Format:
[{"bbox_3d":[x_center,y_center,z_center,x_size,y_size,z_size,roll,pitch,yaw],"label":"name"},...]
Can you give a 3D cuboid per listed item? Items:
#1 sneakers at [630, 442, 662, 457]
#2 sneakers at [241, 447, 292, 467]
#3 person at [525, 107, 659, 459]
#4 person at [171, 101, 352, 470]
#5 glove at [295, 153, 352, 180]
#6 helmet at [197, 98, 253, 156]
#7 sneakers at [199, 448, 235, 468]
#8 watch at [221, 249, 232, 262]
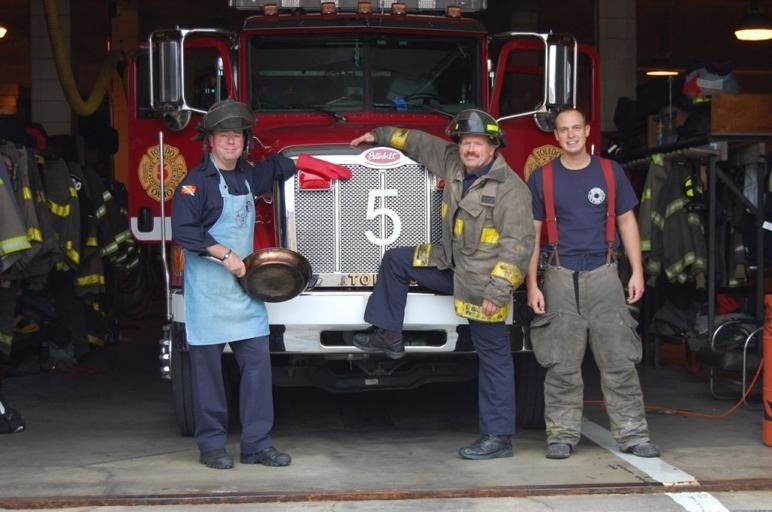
[{"bbox_3d":[2.195,1.641,8.393,0.131,0.086,0.224,2,-7,-10],"label":"sneakers"},{"bbox_3d":[-1.006,1.680,8.292,0.408,0.156,0.151,-1,-4,10],"label":"sneakers"},{"bbox_3d":[1.728,0.223,8.403,1.036,2.923,0.580,0,8,7],"label":"person"},{"bbox_3d":[-1.246,0.219,8.244,1.060,3.011,0.596,-1,8,-5],"label":"person"},{"bbox_3d":[-0.527,-0.754,8.406,0.532,0.163,0.186,7,19,-3],"label":"glove"},{"bbox_3d":[-1.316,-1.086,8.248,0.470,0.188,0.470,-1,-13,-7],"label":"helmet"},{"bbox_3d":[-1.407,1.679,8.209,0.137,0.101,0.274,6,-9,-44],"label":"sneakers"},{"bbox_3d":[-1.285,-0.005,7.975,0.091,0.078,0.027,-21,-44,35],"label":"watch"}]
